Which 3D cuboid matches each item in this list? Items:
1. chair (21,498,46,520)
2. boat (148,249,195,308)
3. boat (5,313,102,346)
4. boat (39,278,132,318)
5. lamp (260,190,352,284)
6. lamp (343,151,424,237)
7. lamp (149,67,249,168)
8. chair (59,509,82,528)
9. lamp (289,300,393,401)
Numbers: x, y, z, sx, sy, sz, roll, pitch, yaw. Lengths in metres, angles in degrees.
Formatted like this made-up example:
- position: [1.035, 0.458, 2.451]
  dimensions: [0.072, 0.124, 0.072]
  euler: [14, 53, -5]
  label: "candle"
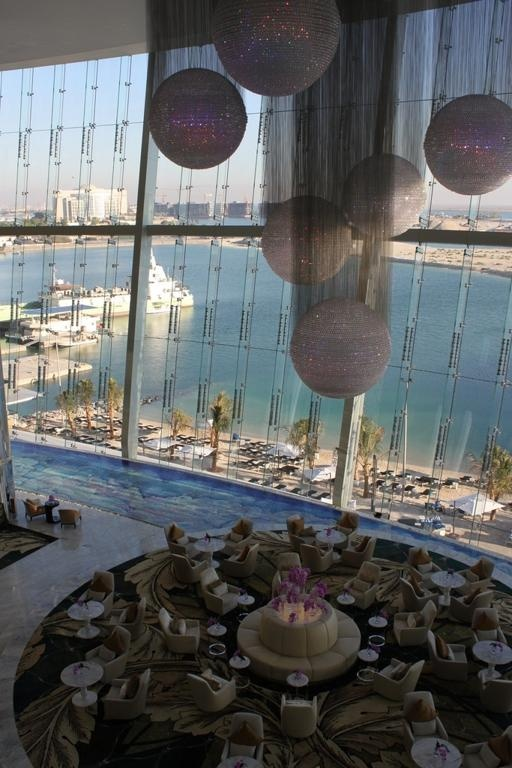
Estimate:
- position: [-5.492, 2.952, 12.184]
  dimensions: [0.522, 0.577, 0.506]
  euler: [-9, 21, -35]
  label: "chair"
- position: [-2.685, -3.034, 14.782]
  dimensions: [1.593, 1.670, 0.367]
  euler: [4, 5, 32]
  label: "boat"
- position: [-6.789, -1.788, 16.918]
  dimensions: [2.075, 0.670, 1.527]
  euler: [-1, 20, -3]
  label: "boat"
- position: [-5.609, -2.827, 16.214]
  dimensions: [3.470, 1.237, 0.398]
  euler: [4, 4, 24]
  label: "boat"
- position: [0.497, -1.428, 4.972]
  dimensions: [0.845, 0.849, 0.203]
  euler: [-12, 0, 37]
  label: "lamp"
- position: [1.271, -1.905, 4.993]
  dimensions: [0.944, 0.916, 0.402]
  euler: [0, 4, -15]
  label: "lamp"
- position: [-0.489, -2.420, 4.552]
  dimensions: [0.903, 0.888, 0.858]
  euler: [1, 6, 6]
  label: "lamp"
- position: [-4.416, 3.077, 11.764]
  dimensions: [0.401, 0.494, 0.460]
  euler: [2, 27, -1]
  label: "chair"
- position: [0.816, -0.355, 4.772]
  dimensions: [0.961, 0.994, 0.988]
  euler: [2, -2, -37]
  label: "lamp"
